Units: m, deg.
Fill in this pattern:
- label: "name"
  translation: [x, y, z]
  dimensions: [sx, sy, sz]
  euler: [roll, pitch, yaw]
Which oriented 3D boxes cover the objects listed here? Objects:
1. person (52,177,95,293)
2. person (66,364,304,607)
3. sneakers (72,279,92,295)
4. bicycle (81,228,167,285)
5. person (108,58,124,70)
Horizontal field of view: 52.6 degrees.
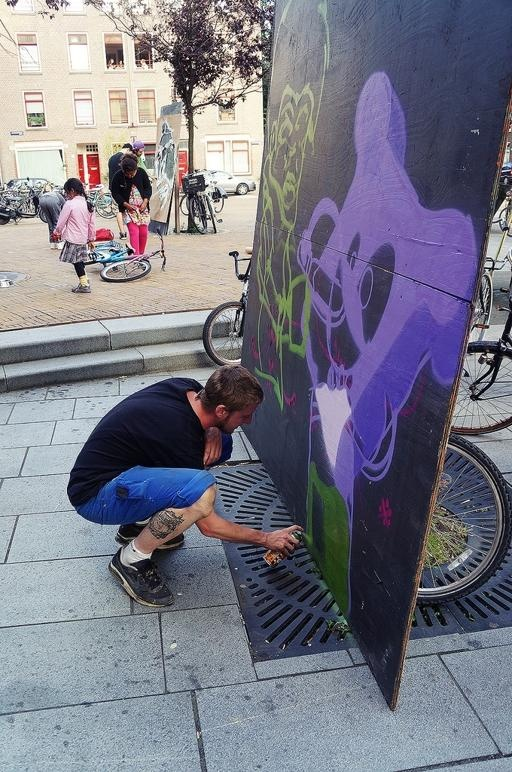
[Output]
- label: "person"
  translation: [-2.651, -2.199, 7.558]
  dimensions: [0.552, 1.633, 0.724]
  euler: [-4, 11, -16]
- label: "person"
  translation: [-0.341, 0.403, 2.454]
  dimensions: [0.996, 0.957, 0.884]
  euler: [5, 10, -18]
- label: "sneakers"
  translation: [-2.516, -1.450, 7.531]
  dimensions: [0.300, 0.185, 0.153]
  euler: [8, 21, 13]
- label: "bicycle"
  translation: [-2.298, -2.167, 8.947]
  dimensions: [1.021, 0.864, 1.656]
  euler: [-1, 16, -16]
- label: "person"
  translation: [-10.034, -23.007, 36.897]
  dimensions: [1.196, 0.654, 0.545]
  euler: [-1, 24, -6]
